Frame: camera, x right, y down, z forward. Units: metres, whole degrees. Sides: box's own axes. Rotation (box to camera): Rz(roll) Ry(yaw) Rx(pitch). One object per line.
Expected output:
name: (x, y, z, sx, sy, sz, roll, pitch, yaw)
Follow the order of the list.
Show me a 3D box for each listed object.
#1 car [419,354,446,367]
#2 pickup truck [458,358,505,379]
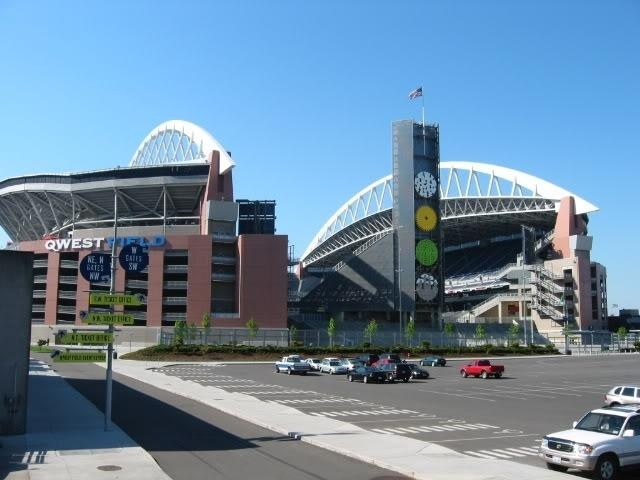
car: (12.066, 12.922, 81.051, 2.419, 1.024, 1.508, 3, -7, 3)
pickup truck: (13.750, 10.934, 64.790, 1.633, 1.266, 3.144, 7, -9, -39)
